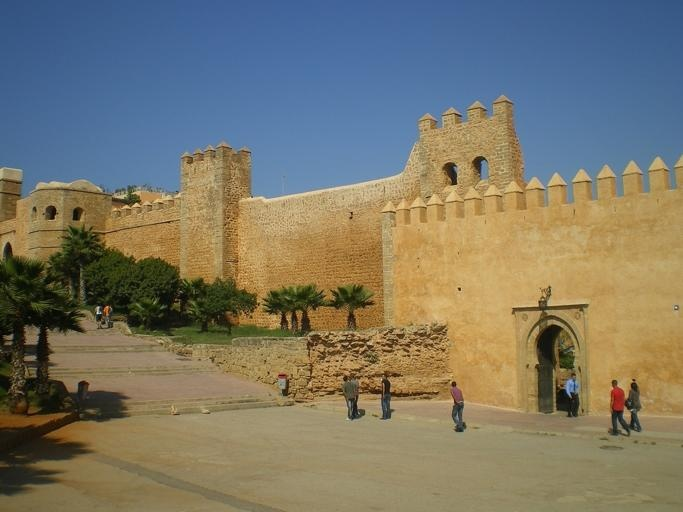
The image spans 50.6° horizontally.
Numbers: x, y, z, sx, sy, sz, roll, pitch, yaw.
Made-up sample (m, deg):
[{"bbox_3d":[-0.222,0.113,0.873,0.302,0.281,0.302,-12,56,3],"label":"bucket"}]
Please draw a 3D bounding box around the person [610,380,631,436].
[{"bbox_3d":[6.529,3.514,16.887,0.457,1.307,1.259,3,4,22],"label":"person"}]

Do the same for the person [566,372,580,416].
[{"bbox_3d":[6.247,3.779,19.531,0.333,1.046,0.807,3,4,19],"label":"person"}]

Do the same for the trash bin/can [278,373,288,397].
[{"bbox_3d":[-1.727,3.783,21.323,0.284,0.649,0.533,2,4,13],"label":"trash bin/can"}]

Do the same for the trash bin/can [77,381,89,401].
[{"bbox_3d":[-6.437,3.374,18.074,0.203,0.482,0.351,0,4,-13],"label":"trash bin/can"}]

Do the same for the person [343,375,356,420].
[{"bbox_3d":[0.214,3.677,18.604,0.298,1.018,0.318,1,4,3],"label":"person"}]

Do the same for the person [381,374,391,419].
[{"bbox_3d":[1.186,3.691,18.848,0.236,0.973,0.639,2,4,5],"label":"person"}]

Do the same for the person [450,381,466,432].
[{"bbox_3d":[2.892,3.621,17.824,0.363,1.223,1.439,2,4,10],"label":"person"}]
